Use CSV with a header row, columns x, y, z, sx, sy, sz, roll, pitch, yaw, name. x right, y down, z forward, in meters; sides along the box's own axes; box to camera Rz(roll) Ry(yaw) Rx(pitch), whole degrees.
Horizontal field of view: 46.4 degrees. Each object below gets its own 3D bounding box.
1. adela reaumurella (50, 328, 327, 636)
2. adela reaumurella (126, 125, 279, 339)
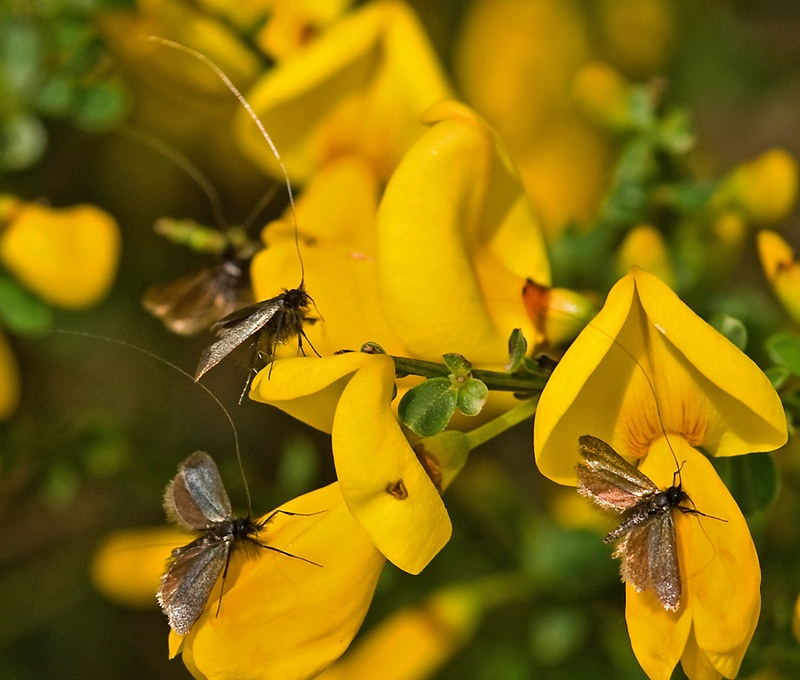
x,y,z,sx,sy,sz,roll,pitch,yaw,name
-0.095,0.078,0.455,0.100,0.037,0.170,7,58,-23,adela reaumurella
-0.124,-0.048,0.597,0.087,0.100,0.128,-7,44,-25,adela reaumurella
